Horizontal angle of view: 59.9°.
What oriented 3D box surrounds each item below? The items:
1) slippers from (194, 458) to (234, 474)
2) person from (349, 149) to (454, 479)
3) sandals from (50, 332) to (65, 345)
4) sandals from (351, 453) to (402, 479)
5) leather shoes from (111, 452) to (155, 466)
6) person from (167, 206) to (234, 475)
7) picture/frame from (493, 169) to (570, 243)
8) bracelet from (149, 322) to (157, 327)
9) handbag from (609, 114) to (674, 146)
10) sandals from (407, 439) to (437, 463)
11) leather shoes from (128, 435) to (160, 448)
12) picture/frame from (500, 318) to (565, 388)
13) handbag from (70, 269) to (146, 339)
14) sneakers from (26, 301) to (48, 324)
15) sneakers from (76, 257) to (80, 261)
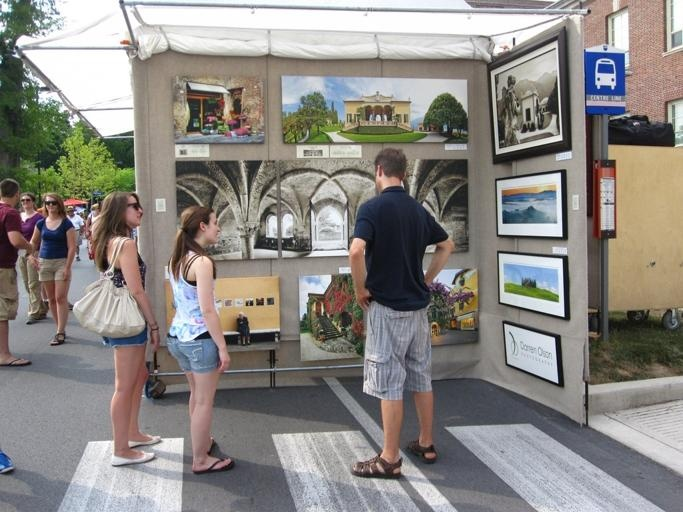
[{"bbox_3d":[-1.153,1.936,5.467,0.259,0.078,0.143,-4,2,-16],"label":"slippers"},{"bbox_3d":[0.521,0.499,5.500,0.836,2.947,0.798,0,9,5],"label":"person"},{"bbox_3d":[-4.479,1.312,9.353,0.225,0.185,0.358,-5,11,-27],"label":"sandals"},{"bbox_3d":[0.327,1.938,5.455,0.394,0.189,0.198,4,-7,4],"label":"sandals"},{"bbox_3d":[-1.949,1.913,5.592,0.404,0.135,0.146,-3,2,-18],"label":"leather shoes"},{"bbox_3d":[-1.312,0.771,5.433,0.522,2.396,0.535,-3,10,-18],"label":"person"},{"bbox_3d":[2.191,-0.577,6.915,0.034,0.736,0.961,0,1,-34],"label":"picture/frame"},{"bbox_3d":[-1.801,0.655,5.645,0.070,0.075,0.033,1,-4,4],"label":"bracelet"},{"bbox_3d":[4.846,-2.048,9.690,1.295,0.514,0.586,-3,10,-13],"label":"handbag"},{"bbox_3d":[0.778,1.887,5.720,0.126,0.128,0.277,-1,8,-27],"label":"sandals"},{"bbox_3d":[-1.946,1.853,5.879,0.281,0.115,0.103,-2,1,-19],"label":"leather shoes"},{"bbox_3d":[2.258,1.128,6.907,0.085,0.636,0.867,-7,6,-22],"label":"picture/frame"},{"bbox_3d":[-2.106,0.460,5.388,0.600,0.524,0.229,1,9,5],"label":"handbag"},{"bbox_3d":[-5.624,1.097,11.001,0.160,0.232,0.533,7,14,-4],"label":"sneakers"},{"bbox_3d":[-9.311,0.104,20.946,0.125,0.105,0.120,1,1,13],"label":"sneakers"}]
